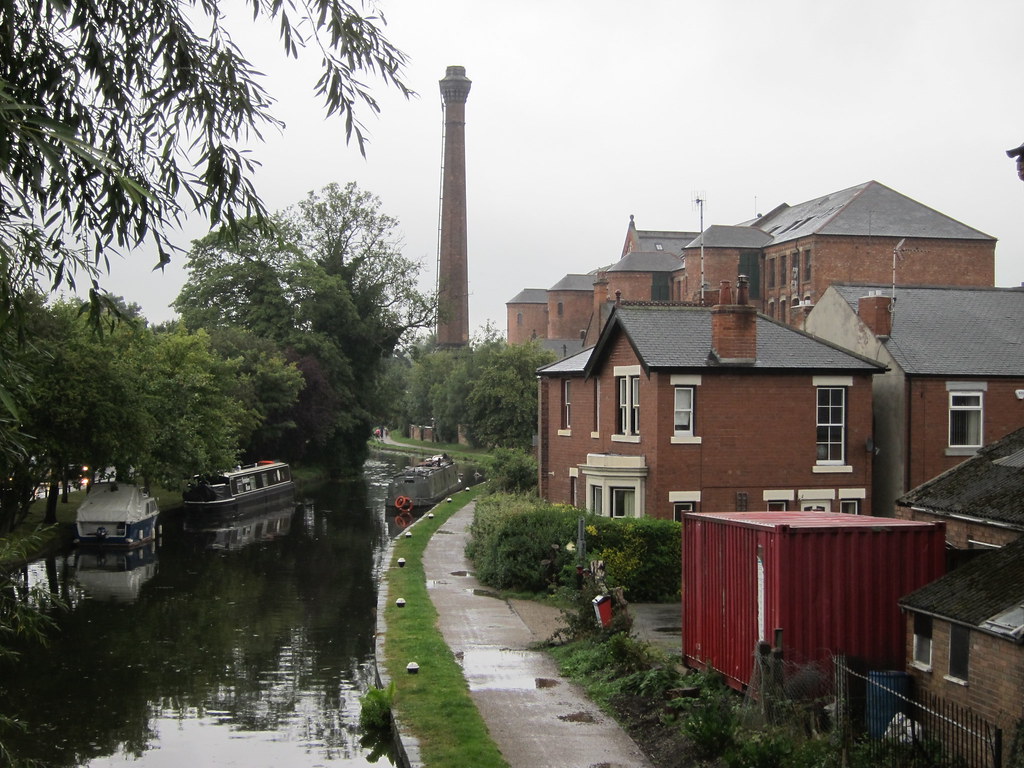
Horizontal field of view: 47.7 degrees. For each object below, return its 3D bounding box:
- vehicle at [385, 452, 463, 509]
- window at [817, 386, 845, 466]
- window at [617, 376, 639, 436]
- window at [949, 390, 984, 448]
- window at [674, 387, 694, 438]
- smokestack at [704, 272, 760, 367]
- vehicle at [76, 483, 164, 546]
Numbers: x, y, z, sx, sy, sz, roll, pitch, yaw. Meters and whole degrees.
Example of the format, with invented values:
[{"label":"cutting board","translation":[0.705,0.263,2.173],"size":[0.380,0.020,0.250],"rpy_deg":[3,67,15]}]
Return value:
[{"label":"vehicle","translation":[-4.273,4.936,57.234],"size":[1.377,2.132,6.316],"rpy_deg":[-2,0,10]},{"label":"window","translation":[9.516,1.199,34.267],"size":[1.127,2.292,0.308],"rpy_deg":[-6,4,-19]},{"label":"window","translation":[3.553,0.663,34.760],"size":[0.188,2.076,1.657],"rpy_deg":[0,1,-18]},{"label":"window","translation":[13.938,1.093,35.550],"size":[1.174,1.757,0.336],"rpy_deg":[-6,4,-12]},{"label":"window","translation":[4.990,0.769,33.112],"size":[0.667,1.426,0.275],"rpy_deg":[-5,4,5]},{"label":"smokestack","translation":[6.374,-1.745,33.396],"size":[1.331,2.429,0.636],"rpy_deg":[-5,4,3]},{"label":"vehicle","translation":[-14.072,4.775,41.701],"size":[2.047,1.703,2.686],"rpy_deg":[-5,3,9]}]
